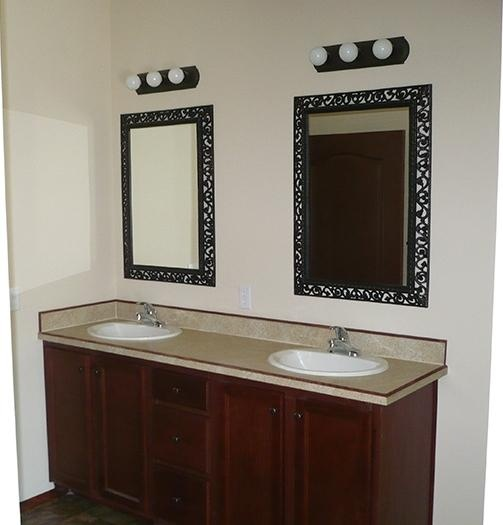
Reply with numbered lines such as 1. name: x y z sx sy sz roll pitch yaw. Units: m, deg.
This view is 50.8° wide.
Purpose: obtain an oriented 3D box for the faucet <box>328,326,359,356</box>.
1. faucet: 0.382 0.327 2.220 0.061 0.148 0.167 -1 1 -40

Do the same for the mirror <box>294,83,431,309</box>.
1. mirror: 0.448 -0.277 2.246 0.621 0.914 0.017 2 1 28

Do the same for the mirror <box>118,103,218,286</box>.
1. mirror: -0.464 -0.352 2.857 0.666 0.939 0.035 2 4 34

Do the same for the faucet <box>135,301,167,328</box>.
1. faucet: -0.548 0.284 2.837 0.225 0.123 0.089 4 3 42

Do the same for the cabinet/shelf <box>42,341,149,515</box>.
1. cabinet/shelf: -0.653 0.764 2.717 0.741 0.738 0.434 0 3 28
